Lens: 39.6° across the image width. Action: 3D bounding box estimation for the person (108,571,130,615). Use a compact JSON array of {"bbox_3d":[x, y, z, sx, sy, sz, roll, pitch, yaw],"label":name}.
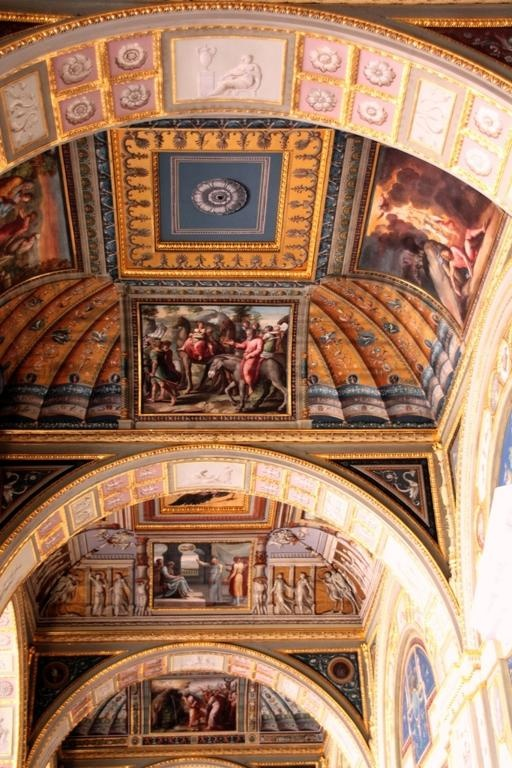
[{"bbox_3d":[-2.910,4.425,14.962,0.423,0.707,0.524,3,-53,-6],"label":"person"}]
